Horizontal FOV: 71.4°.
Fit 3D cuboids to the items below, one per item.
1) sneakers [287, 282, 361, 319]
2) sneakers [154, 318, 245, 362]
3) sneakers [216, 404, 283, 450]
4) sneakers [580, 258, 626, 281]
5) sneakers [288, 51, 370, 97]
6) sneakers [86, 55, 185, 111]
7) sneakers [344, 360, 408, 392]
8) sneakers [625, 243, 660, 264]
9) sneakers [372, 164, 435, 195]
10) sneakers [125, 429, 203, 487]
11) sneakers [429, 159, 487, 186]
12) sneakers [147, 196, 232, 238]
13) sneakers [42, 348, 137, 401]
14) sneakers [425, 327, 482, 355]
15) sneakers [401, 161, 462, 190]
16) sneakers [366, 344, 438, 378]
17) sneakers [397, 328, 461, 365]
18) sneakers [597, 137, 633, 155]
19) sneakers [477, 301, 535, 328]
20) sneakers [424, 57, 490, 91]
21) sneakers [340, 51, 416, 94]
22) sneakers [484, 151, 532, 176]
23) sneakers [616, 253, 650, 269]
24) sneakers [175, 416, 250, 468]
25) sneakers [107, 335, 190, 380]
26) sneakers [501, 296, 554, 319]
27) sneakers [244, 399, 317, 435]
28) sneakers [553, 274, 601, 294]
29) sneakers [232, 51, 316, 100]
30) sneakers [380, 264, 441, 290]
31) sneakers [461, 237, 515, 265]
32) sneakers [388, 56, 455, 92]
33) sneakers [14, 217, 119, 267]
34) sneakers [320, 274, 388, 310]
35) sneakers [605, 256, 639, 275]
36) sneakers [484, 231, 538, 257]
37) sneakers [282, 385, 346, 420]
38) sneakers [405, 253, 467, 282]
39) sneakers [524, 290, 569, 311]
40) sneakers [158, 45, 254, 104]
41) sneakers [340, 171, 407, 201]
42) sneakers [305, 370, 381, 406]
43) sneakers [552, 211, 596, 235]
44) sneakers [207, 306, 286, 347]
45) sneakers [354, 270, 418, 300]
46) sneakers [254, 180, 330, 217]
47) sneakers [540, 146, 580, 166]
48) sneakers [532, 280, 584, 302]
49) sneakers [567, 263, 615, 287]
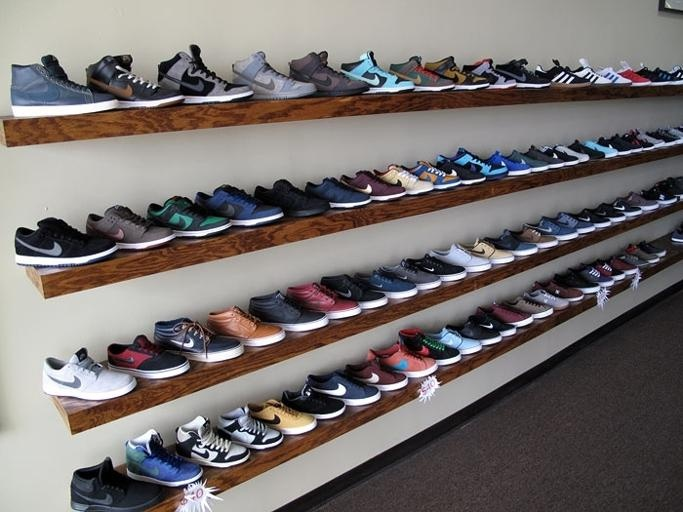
[{"bbox_3d":[-0.086,0.200,2.306,0.423,0.129,0.134,7,21,0],"label":"sneakers"},{"bbox_3d":[-0.578,0.335,1.973,0.412,0.128,0.147,5,13,0],"label":"sneakers"},{"bbox_3d":[-0.389,0.742,2.120,0.368,0.128,0.129,8,19,8],"label":"sneakers"},{"bbox_3d":[1.936,0.098,3.655,0.436,0.132,0.138,4,19,-9],"label":"sneakers"},{"bbox_3d":[-0.049,-0.804,2.077,0.404,0.164,0.125,13,41,15],"label":"sneakers"},{"bbox_3d":[-0.732,-0.624,1.692,0.424,0.159,0.126,14,28,22],"label":"sneakers"},{"bbox_3d":[0.182,0.623,2.525,0.385,0.114,0.135,5,14,5],"label":"sneakers"},{"bbox_3d":[2.424,-0.025,3.991,0.372,0.114,0.122,11,28,23],"label":"sneakers"},{"bbox_3d":[0.262,-0.402,2.444,0.381,0.125,0.120,9,23,15],"label":"sneakers"},{"bbox_3d":[-0.614,0.806,1.939,0.434,0.186,0.149,4,15,-1],"label":"sneakers"},{"bbox_3d":[0.590,-0.465,2.627,0.348,0.108,0.111,13,17,0],"label":"sneakers"},{"bbox_3d":[-0.593,-0.158,1.869,0.392,0.133,0.129,5,17,10],"label":"sneakers"},{"bbox_3d":[-0.857,0.433,1.773,0.407,0.140,0.138,4,13,3],"label":"sneakers"},{"bbox_3d":[0.668,0.494,2.812,0.346,0.104,0.110,9,16,6],"label":"sneakers"},{"bbox_3d":[0.496,-0.437,2.556,0.384,0.124,0.121,6,14,-2],"label":"sneakers"},{"bbox_3d":[0.331,0.560,2.622,0.466,0.139,0.151,3,16,5],"label":"sneakers"},{"bbox_3d":[0.498,0.508,2.706,0.447,0.134,0.146,8,22,13],"label":"sneakers"},{"bbox_3d":[1.963,-0.827,3.519,0.329,0.111,0.115,13,22,30],"label":"sneakers"},{"bbox_3d":[1.053,0.384,3.097,0.430,0.128,0.138,5,19,17],"label":"sneakers"},{"bbox_3d":[0.620,-0.983,2.518,0.143,0.161,0.420,-34,40,-26],"label":"sneakers"},{"bbox_3d":[0.238,-0.843,2.188,0.491,0.178,0.139,1,20,0],"label":"sneakers"},{"bbox_3d":[1.063,-0.568,2.892,0.392,0.127,0.120,6,23,11],"label":"sneakers"},{"bbox_3d":[2.359,0.031,3.855,0.316,0.087,0.100,6,23,10],"label":"sneakers"},{"bbox_3d":[-0.520,0.773,2.029,0.428,0.177,0.140,4,17,1],"label":"sneakers"},{"bbox_3d":[-0.742,0.396,1.902,0.379,0.120,0.133,4,10,7],"label":"sneakers"},{"bbox_3d":[1.255,0.332,3.186,0.341,0.104,0.124,5,17,26],"label":"sneakers"},{"bbox_3d":[-0.261,0.733,2.218,0.359,0.105,0.126,5,15,5],"label":"sneakers"},{"bbox_3d":[1.687,0.192,3.489,0.337,0.102,0.129,8,15,18],"label":"sneakers"},{"bbox_3d":[-0.280,-0.748,1.970,0.394,0.162,0.120,13,30,18],"label":"sneakers"},{"bbox_3d":[0.398,0.110,2.644,0.373,0.111,0.118,7,21,12],"label":"sneakers"},{"bbox_3d":[0.903,-0.037,2.986,0.400,0.123,0.129,11,21,10],"label":"sneakers"},{"bbox_3d":[0.408,-0.922,2.383,0.388,0.146,0.125,22,45,33],"label":"sneakers"},{"bbox_3d":[-0.862,-0.042,1.589,0.399,0.142,0.131,-1,11,-8],"label":"sneakers"},{"bbox_3d":[0.075,0.178,2.401,0.413,0.125,0.130,9,21,3],"label":"sneakers"},{"bbox_3d":[2.138,0.071,3.784,0.327,0.102,0.114,15,21,30],"label":"sneakers"},{"bbox_3d":[1.093,-0.083,3.076,0.385,0.116,0.131,7,16,-3],"label":"sneakers"},{"bbox_3d":[-0.135,0.701,2.317,0.362,0.108,0.128,6,14,7],"label":"sneakers"},{"bbox_3d":[0.533,0.064,2.704,0.404,0.113,0.128,8,19,1],"label":"sneakers"},{"bbox_3d":[1.396,0.297,3.307,0.358,0.108,0.118,5,19,15],"label":"sneakers"},{"bbox_3d":[-0.509,-0.701,1.818,0.431,0.200,0.138,10,27,17],"label":"sneakers"},{"bbox_3d":[0.163,-0.361,2.390,0.389,0.118,0.125,9,22,12],"label":"sneakers"},{"bbox_3d":[0.001,0.662,2.417,0.423,0.125,0.146,4,11,3],"label":"sneakers"},{"bbox_3d":[1.649,-0.242,3.411,0.357,0.112,0.115,11,21,12],"label":"sneakers"},{"bbox_3d":[-0.407,0.294,2.089,0.398,0.126,0.137,6,15,4],"label":"sneakers"},{"bbox_3d":[0.241,0.137,2.541,0.393,0.117,0.124,6,20,7],"label":"sneakers"},{"bbox_3d":[-0.242,-0.266,2.117,0.361,0.117,0.132,8,21,12],"label":"sneakers"},{"bbox_3d":[1.363,-0.662,3.107,0.310,0.097,0.098,19,19,16],"label":"sneakers"},{"bbox_3d":[1.537,0.249,3.413,0.411,0.114,0.133,8,18,15],"label":"sneakers"},{"bbox_3d":[1.880,0.141,3.582,0.411,0.125,0.134,11,17,-5],"label":"sneakers"}]
